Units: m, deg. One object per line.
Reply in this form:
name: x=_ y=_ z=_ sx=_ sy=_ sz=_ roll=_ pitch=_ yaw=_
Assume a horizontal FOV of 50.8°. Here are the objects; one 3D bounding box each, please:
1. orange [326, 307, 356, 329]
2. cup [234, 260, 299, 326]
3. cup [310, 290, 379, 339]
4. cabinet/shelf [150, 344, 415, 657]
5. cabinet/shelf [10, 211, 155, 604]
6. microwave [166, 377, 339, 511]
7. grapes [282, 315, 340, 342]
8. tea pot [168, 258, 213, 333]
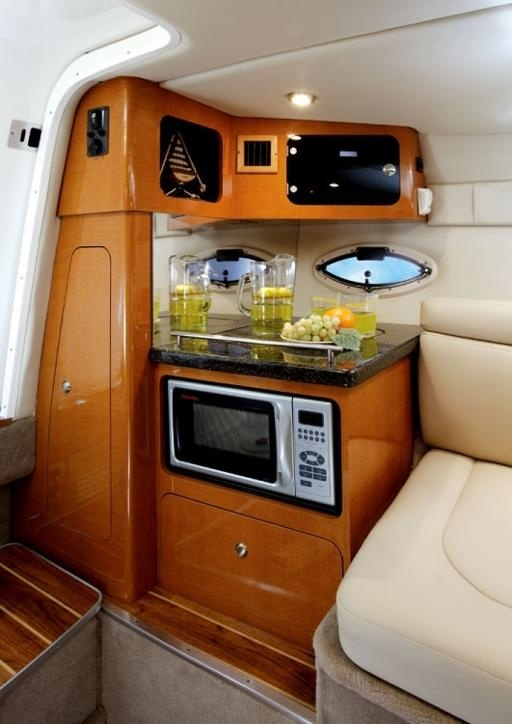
orange: x=0.220 y=-0.118 z=1.428 sx=0.059 sy=0.061 sz=0.061 roll=-13 pitch=-2 yaw=39
cup: x=0.041 y=-0.213 z=1.617 sx=0.235 sy=0.245 sz=0.163 roll=-2 pitch=14 yaw=-5
cup: x=0.252 y=-0.123 z=1.540 sx=0.140 sy=0.107 sz=0.141 roll=-2 pitch=1 yaw=0
cabinet/shelf: x=0.066 y=0.293 z=1.572 sx=0.565 sy=0.667 sz=0.478 roll=6 pitch=15 yaw=24
cabinet/shelf: x=-0.517 y=0.124 z=1.617 sx=0.479 sy=1.074 sz=0.209 roll=5 pitch=14 yaw=31
microwave: x=0.030 y=0.177 z=1.489 sx=0.523 sy=0.272 sz=0.343 roll=4 pitch=8 yaw=32
grapes: x=0.146 y=-0.075 z=1.354 sx=0.103 sy=0.050 sz=0.069 roll=-3 pitch=4 yaw=40
tea pot: x=-0.206 y=-0.188 z=1.642 sx=0.150 sy=0.219 sz=0.126 roll=-1 pitch=6 yaw=-2
